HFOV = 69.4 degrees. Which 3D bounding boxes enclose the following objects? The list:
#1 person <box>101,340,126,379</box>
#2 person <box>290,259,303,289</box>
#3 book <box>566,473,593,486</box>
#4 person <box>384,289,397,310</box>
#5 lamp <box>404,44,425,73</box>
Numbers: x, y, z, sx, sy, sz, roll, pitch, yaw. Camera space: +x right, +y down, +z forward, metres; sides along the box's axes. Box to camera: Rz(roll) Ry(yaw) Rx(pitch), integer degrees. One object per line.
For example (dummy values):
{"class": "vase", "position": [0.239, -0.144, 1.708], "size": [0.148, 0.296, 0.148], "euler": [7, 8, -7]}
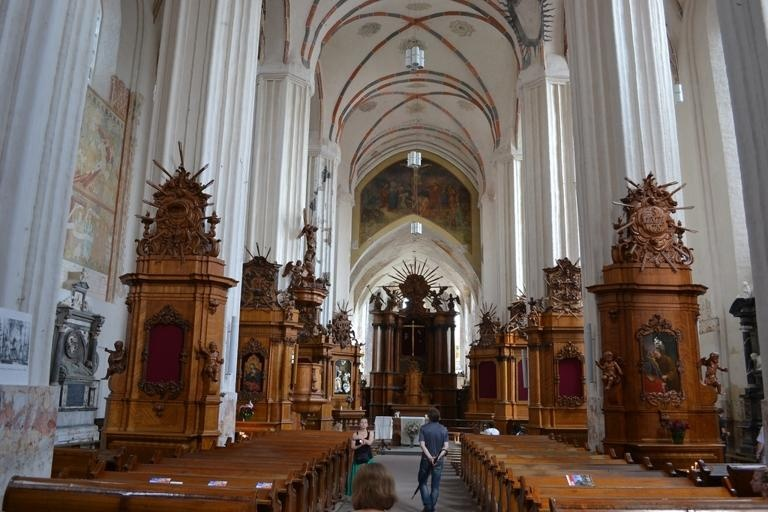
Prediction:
{"class": "person", "position": [-4.293, 1.627, 8.849], "size": [0.292, 0.605, 1.025], "euler": [7, -16, -26]}
{"class": "person", "position": [-2.499, 0.494, 15.765], "size": [0.404, 0.820, 0.766], "euler": [2, -14, -9]}
{"class": "book", "position": [2.122, 2.436, 6.059], "size": [0.238, 0.034, 0.176], "euler": [-2, 28, 12]}
{"class": "person", "position": [0.462, 2.762, 34.092], "size": [0.668, 1.273, 1.521], "euler": [-1, -14, 4]}
{"class": "lamp", "position": [0.992, -6.440, 18.142], "size": [0.497, 0.832, 0.573], "euler": [-5, -15, 16]}
